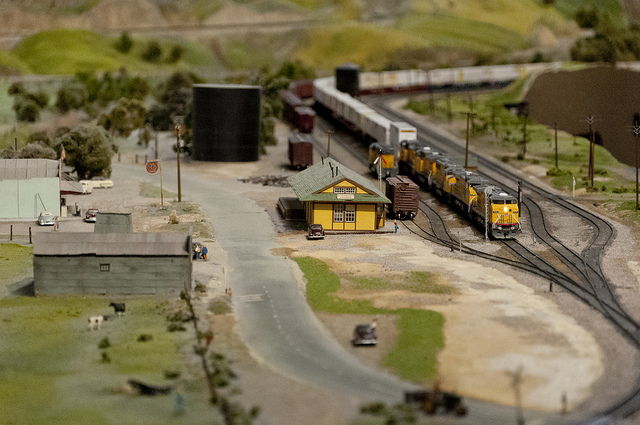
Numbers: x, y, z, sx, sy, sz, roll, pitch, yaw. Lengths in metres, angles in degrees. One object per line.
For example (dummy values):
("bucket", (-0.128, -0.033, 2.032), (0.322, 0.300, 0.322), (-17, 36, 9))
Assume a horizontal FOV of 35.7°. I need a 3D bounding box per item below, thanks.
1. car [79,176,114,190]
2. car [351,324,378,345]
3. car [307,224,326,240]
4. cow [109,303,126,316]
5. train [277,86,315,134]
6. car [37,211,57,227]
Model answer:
("car", (-34.086, -4.115, 152.713), (4.007, 1.538, 2.448), (2, 7, -7))
("car", (4.947, 13.016, 107.003), (2.457, 0.844, 3.114), (-4, 21, -4))
("car", (-0.348, 2.602, 129.988), (1.518, 1.246, 2.633), (-1, 10, -3))
("cow", (-21.868, 10.457, 107.690), (1.287, 1.090, 1.226), (-8, 21, -15))
("train", (-3.836, -18.582, 187.782), (3.336, 4.128, 16.908), (-2, 24, -9))
("car", (-36.809, 0.979, 133.043), (2.144, 1.232, 3.433), (-12, 23, -24))
